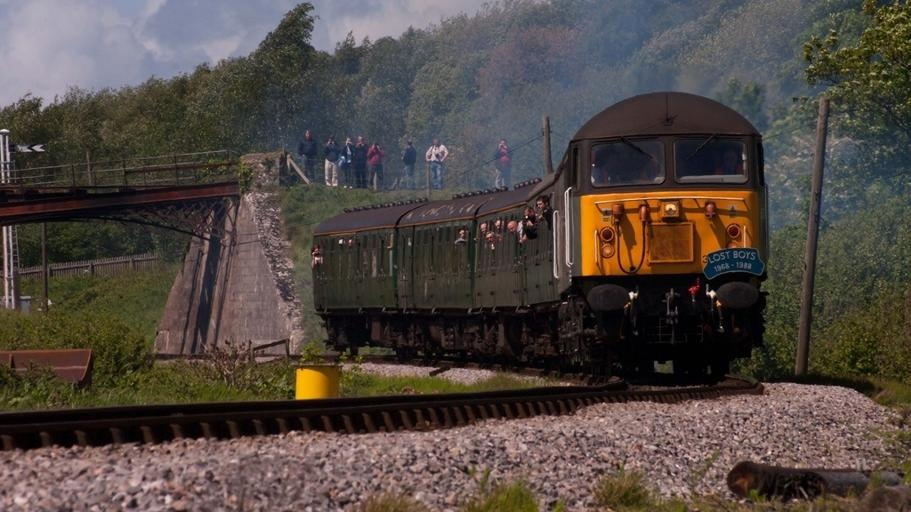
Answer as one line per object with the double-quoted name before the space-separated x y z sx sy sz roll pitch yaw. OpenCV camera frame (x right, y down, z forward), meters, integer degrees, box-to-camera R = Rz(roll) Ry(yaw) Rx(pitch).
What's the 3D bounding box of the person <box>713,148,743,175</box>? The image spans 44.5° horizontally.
"person" 10.505 -3.610 42.751 1.060 1.015 0.251 6 -2 9
